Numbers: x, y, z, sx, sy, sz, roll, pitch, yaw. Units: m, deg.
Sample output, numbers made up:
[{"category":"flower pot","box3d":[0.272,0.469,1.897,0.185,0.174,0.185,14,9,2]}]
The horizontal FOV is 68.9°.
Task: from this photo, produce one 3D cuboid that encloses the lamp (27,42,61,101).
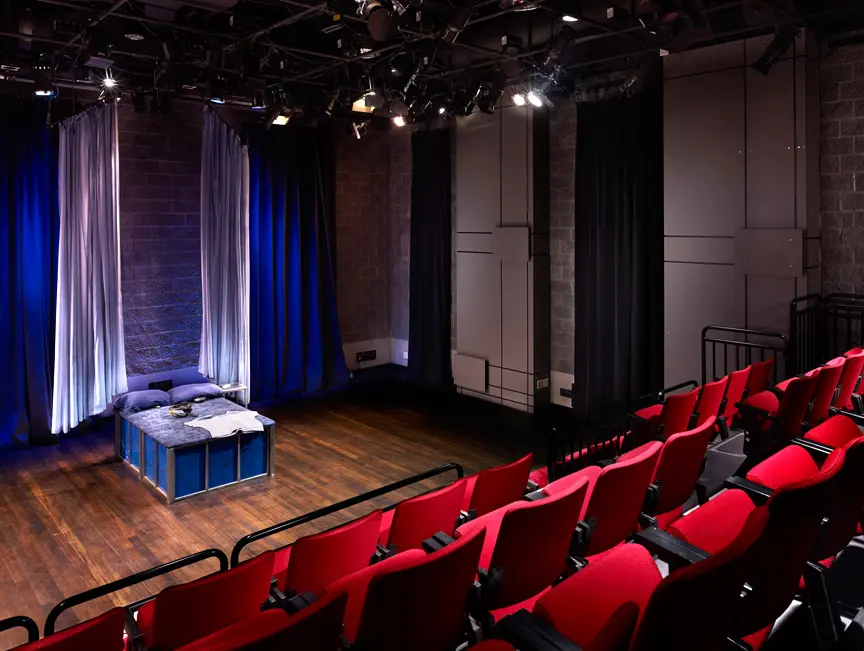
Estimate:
[{"category":"lamp","box3d":[-3.896,-2.578,6.434,0.273,0.436,0.223,11,-2,6]}]
